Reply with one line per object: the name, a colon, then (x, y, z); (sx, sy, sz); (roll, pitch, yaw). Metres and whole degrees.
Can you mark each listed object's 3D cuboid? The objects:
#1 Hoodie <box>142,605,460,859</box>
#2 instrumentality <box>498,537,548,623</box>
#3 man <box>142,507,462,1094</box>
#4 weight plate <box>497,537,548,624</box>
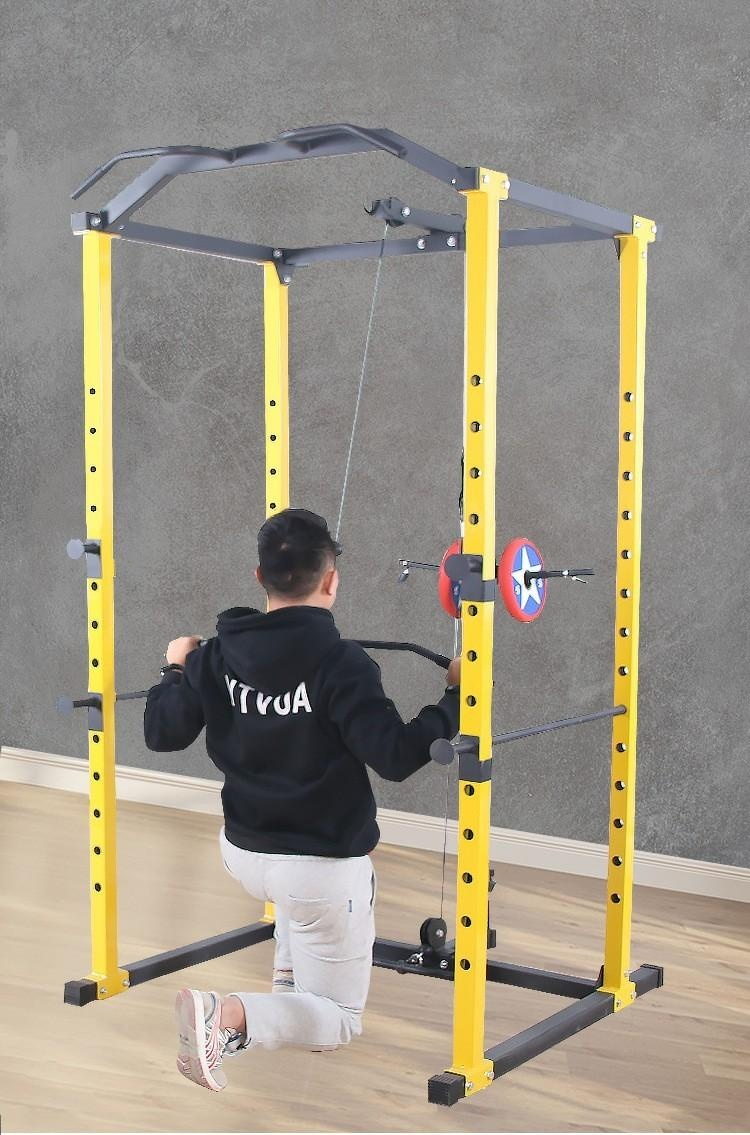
Hoodie: (-0.128, 0.382, 3.633); (0.872, 0.372, 0.547); (3, 97, 33)
instrumentality: (0.332, 0.024, 3.471); (0.052, 0.220, 0.198); (-4, 71, 31)
man: (-0.184, 0.454, 3.263); (0.676, 0.762, 1.088); (2, 93, -24)
weight plate: (0.337, 0.024, 3.513); (0.055, 0.228, 0.205); (-4, 72, 31)
